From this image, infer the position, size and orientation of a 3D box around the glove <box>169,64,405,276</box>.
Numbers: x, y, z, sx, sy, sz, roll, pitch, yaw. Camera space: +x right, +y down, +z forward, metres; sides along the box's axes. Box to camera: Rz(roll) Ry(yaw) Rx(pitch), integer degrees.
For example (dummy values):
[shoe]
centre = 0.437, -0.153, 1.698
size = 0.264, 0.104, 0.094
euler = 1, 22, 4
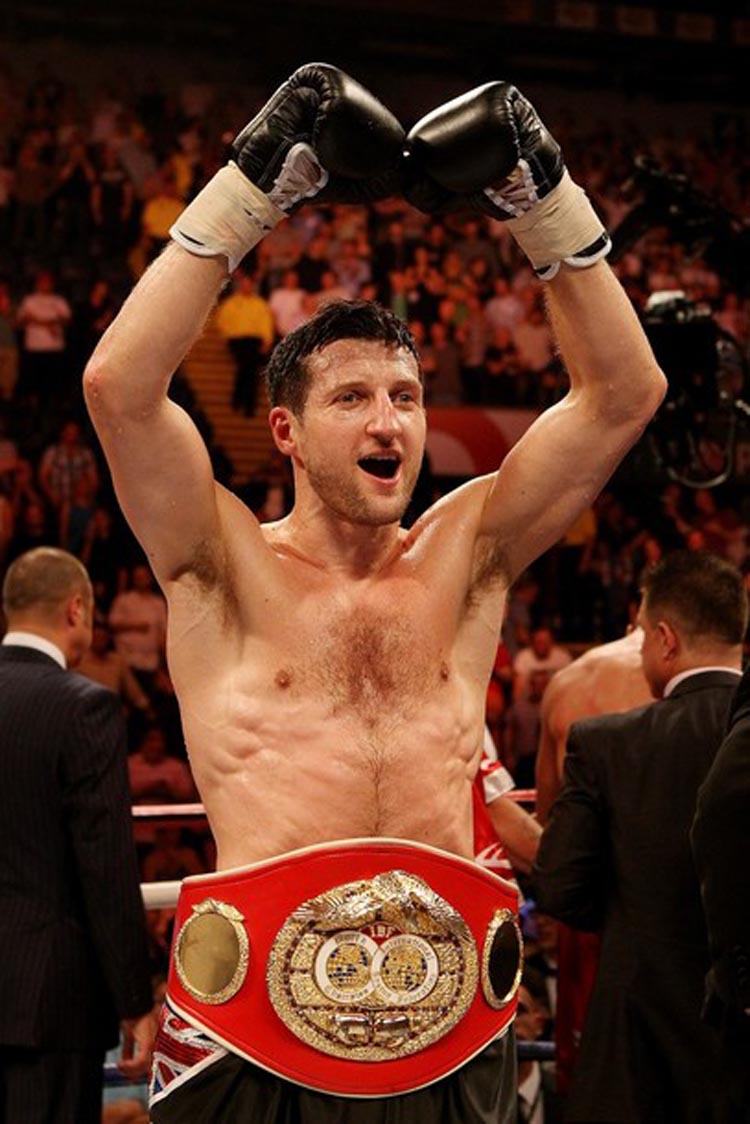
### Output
[glove]
centre = -0.126, -0.549, 1.581
size = 0.331, 0.262, 0.148
euler = -5, 14, 6
